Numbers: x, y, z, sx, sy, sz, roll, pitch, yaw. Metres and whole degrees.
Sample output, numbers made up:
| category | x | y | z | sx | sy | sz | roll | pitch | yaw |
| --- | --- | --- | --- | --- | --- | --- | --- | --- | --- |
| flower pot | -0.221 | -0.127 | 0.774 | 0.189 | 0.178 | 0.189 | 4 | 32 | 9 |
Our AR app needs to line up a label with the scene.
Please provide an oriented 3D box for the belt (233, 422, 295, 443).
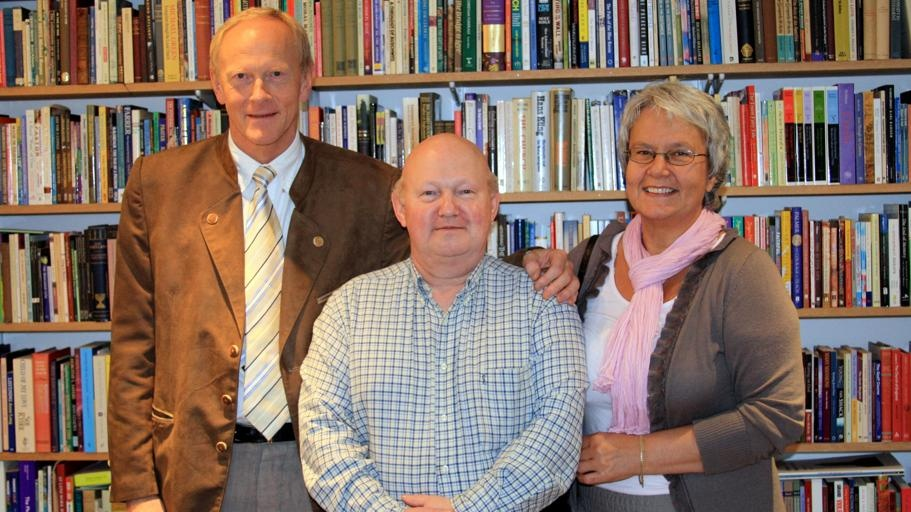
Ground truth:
| category | x | y | z | sx | sy | sz | roll | pitch | yaw |
| --- | --- | --- | --- | --- | --- | --- | --- | --- | --- |
| belt | -0.873 | 0.806 | 5.781 | 0.271 | 0.082 | 0.044 | -2 | -5 | 8 |

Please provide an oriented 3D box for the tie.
| category | x | y | z | sx | sy | sz | roll | pitch | yaw |
| --- | --- | --- | --- | --- | --- | --- | --- | --- | --- |
| tie | -0.882 | 0.211 | 5.809 | 0.212 | 1.241 | 0.061 | -1 | -5 | -9 |

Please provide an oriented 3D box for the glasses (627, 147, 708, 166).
| category | x | y | z | sx | sy | sz | roll | pitch | yaw |
| --- | --- | --- | --- | --- | --- | --- | --- | --- | --- |
| glasses | 0.985 | -0.448 | 5.850 | 0.358 | 0.092 | 0.056 | -3 | -5 | 10 |
